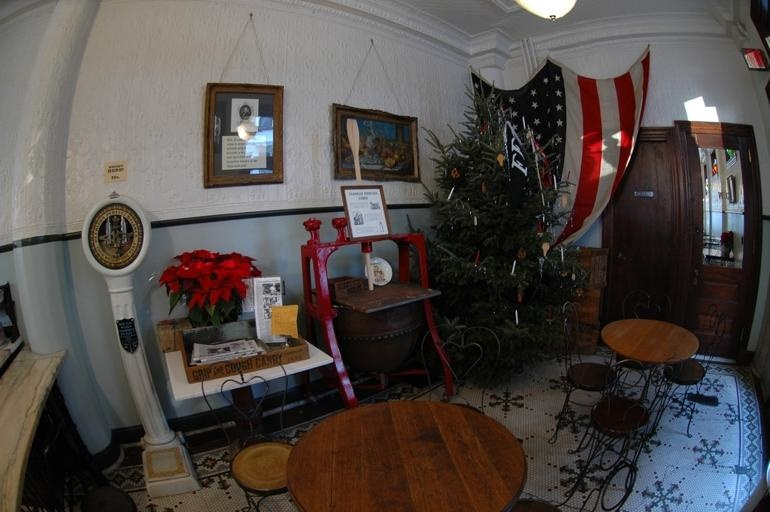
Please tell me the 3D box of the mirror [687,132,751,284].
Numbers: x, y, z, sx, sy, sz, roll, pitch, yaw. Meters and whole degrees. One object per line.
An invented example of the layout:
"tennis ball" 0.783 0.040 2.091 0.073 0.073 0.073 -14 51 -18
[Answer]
"mirror" 2.377 -0.394 3.607 0.174 0.959 0.437 -4 7 6

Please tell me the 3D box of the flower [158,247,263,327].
"flower" -1.473 0.301 4.006 0.608 0.487 0.712 1 25 13

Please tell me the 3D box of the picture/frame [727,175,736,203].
"picture/frame" 2.391 -0.457 3.471 0.052 0.189 0.029 3 10 45

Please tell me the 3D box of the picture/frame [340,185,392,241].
"picture/frame" -0.182 -0.360 4.360 0.408 0.498 0.019 -13 -1 -37

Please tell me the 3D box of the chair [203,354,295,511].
"chair" -0.929 1.345 3.551 0.590 0.985 0.990 -7 8 -14

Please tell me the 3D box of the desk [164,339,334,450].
"desk" -1.126 1.147 4.030 1.119 0.760 1.100 -11 11 -39

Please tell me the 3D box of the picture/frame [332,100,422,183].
"picture/frame" -0.116 -1.108 4.920 0.820 0.665 0.084 -5 9 -39

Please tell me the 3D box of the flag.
"flag" 1.817 -1.016 5.100 1.951 2.665 0.228 2 1 37
